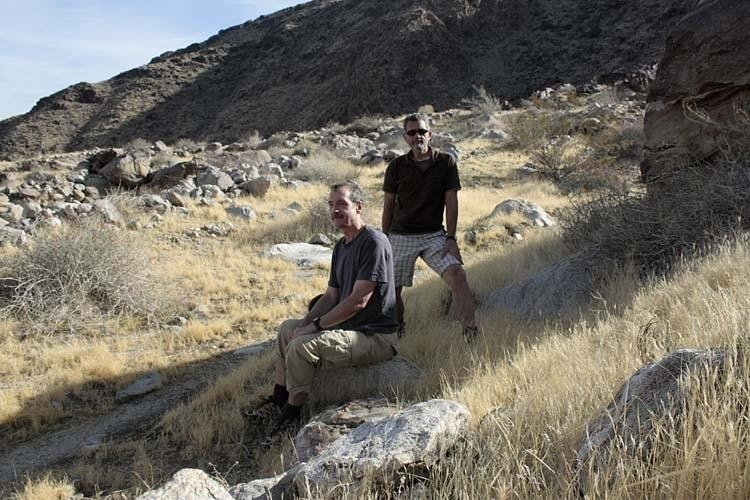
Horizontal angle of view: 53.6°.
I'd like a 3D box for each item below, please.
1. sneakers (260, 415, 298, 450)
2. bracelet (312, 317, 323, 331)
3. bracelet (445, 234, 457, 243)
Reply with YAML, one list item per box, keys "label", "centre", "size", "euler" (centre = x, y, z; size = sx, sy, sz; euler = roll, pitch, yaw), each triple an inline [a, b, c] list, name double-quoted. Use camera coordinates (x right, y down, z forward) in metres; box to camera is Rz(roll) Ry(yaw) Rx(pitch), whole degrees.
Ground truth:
- label: "sneakers"
  centre: [-1.482, 2.845, 11.489]
  size: [0.541, 0.131, 0.170]
  euler: [-38, 39, 14]
- label: "bracelet"
  centre: [-0.912, 1.152, 11.649]
  size: [0.113, 0.197, 0.188]
  euler: [-4, 2, -19]
- label: "bracelet"
  centre: [1.310, -0.210, 12.880]
  size: [0.169, 0.139, 0.158]
  euler: [-6, 4, -4]
